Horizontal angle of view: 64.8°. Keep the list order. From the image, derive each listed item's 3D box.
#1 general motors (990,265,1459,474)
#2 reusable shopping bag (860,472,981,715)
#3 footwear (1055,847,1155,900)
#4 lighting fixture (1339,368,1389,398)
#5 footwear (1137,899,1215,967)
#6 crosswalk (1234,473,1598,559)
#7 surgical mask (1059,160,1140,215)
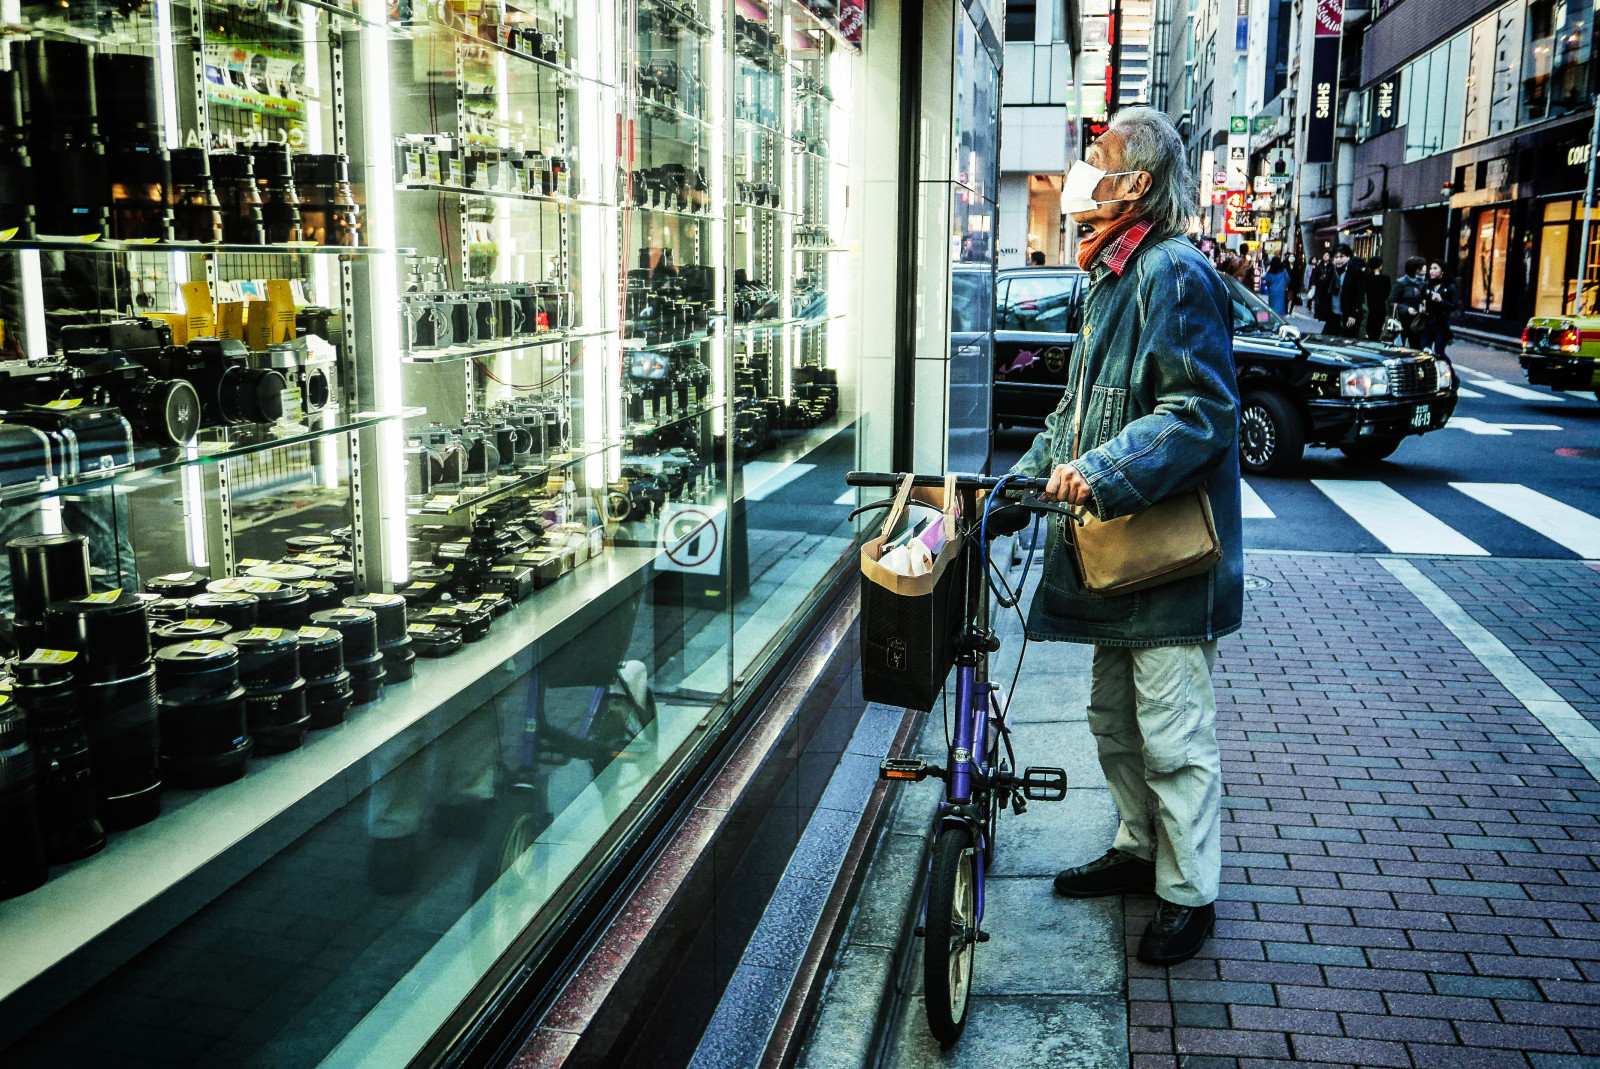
[{"bbox_3d":[4.501,-1.586,12.783,5.420,1.753,2.458,3,13,24],"label":"general motors"},{"bbox_3d":[0.352,0.167,3.826,0.207,0.492,0.555,3,20,9],"label":"reusable shopping bag"},{"bbox_3d":[1.136,1.243,4.685,0.408,0.161,0.148,2,8,1],"label":"footwear"},{"bbox_3d":[5.357,-1.456,11.951,0.475,0.312,0.265,3,2,-5],"label":"lighting fixture"},{"bbox_3d":[1.271,1.338,4.275,0.125,0.140,0.351,1,2,39],"label":"footwear"},{"bbox_3d":[5.374,-0.169,10.458,2.203,0.154,3.059,4,17,27],"label":"crosswalk"},{"bbox_3d":[0.972,-1.129,4.096,0.204,0.124,0.173,2,6,-13],"label":"surgical mask"}]
